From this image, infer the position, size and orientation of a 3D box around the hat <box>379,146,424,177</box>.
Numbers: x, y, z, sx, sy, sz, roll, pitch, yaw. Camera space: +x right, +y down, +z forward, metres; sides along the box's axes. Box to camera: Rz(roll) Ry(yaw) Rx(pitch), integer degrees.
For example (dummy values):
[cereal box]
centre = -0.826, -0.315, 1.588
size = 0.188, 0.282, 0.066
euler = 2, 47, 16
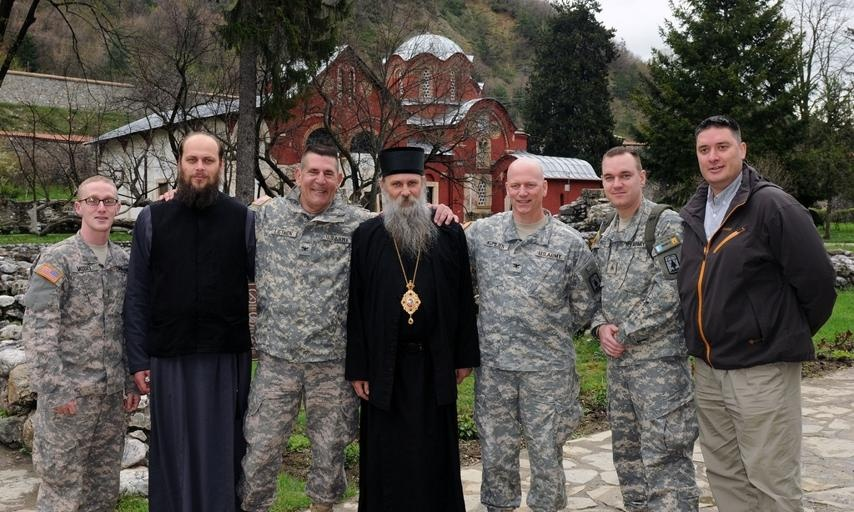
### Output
[hat]
centre = -0.299, -1.143, 9.283
size = 0.463, 0.263, 0.380
euler = 1, -1, -11
